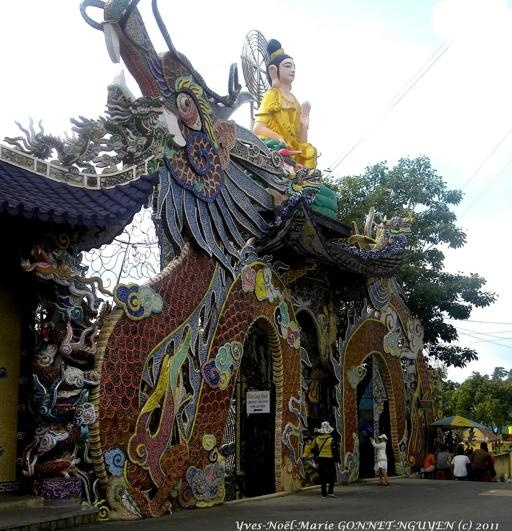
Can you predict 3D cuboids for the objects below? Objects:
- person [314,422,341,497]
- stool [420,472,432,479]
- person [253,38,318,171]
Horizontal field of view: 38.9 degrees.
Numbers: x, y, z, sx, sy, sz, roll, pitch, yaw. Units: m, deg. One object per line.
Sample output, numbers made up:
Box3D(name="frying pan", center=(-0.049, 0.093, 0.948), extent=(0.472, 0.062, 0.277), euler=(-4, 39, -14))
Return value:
Box3D(name="person", center=(1.032, 2.842, 10.738), extent=(0.328, 1.171, 0.345), euler=(-4, 11, -3))
Box3D(name="stool", center=(3.605, 4.384, 15.249), extent=(0.177, 0.191, 0.182), euler=(-4, -8, 42))
Box3D(name="person", center=(0.576, -3.267, 14.024), extent=(1.189, 3.200, 1.049), euler=(4, -19, -1))
